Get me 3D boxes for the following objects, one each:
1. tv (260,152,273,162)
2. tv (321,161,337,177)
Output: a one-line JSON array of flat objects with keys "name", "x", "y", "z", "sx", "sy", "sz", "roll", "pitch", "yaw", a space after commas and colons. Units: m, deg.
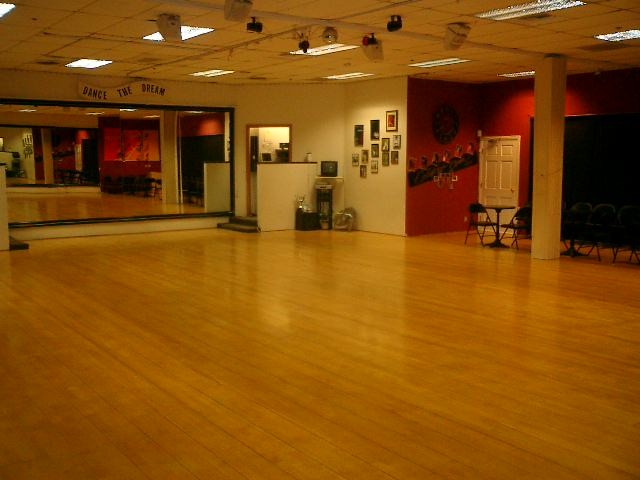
[{"name": "tv", "x": -1.802, "y": -2.841, "z": 15.463, "sx": 0.368, "sy": 0.278, "sz": 0.613, "roll": -1, "pitch": 10, "yaw": -7}, {"name": "tv", "x": 0.282, "y": -2.123, "z": 13.549, "sx": 0.543, "sy": 0.430, "sz": 0.281, "roll": 1, "pitch": -1, "yaw": 15}]
